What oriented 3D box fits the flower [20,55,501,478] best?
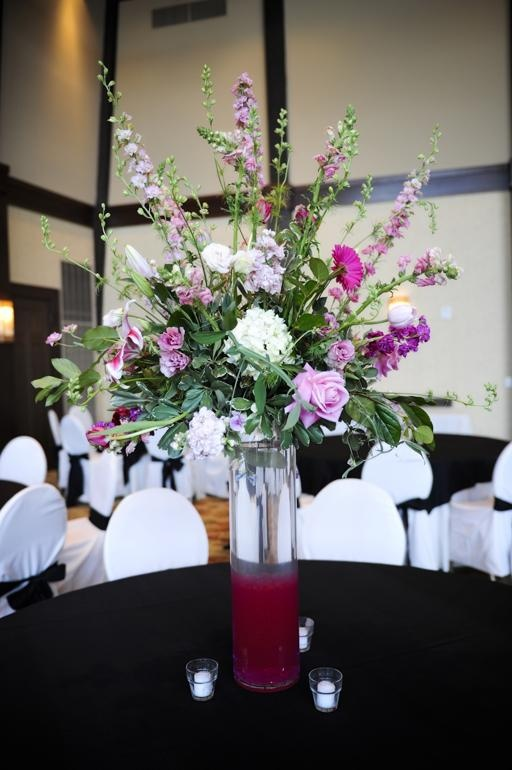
[{"bbox_3d":[-0.028,-0.183,1.053,0.678,0.731,0.402,-2,5,-12],"label":"flower"}]

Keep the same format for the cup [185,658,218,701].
[{"bbox_3d":[-0.090,0.474,1.022,0.046,0.047,0.049,1,13,0],"label":"cup"}]

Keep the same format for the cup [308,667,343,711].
[{"bbox_3d":[0.109,0.473,0.992,0.048,0.046,0.053,1,7,5],"label":"cup"}]
